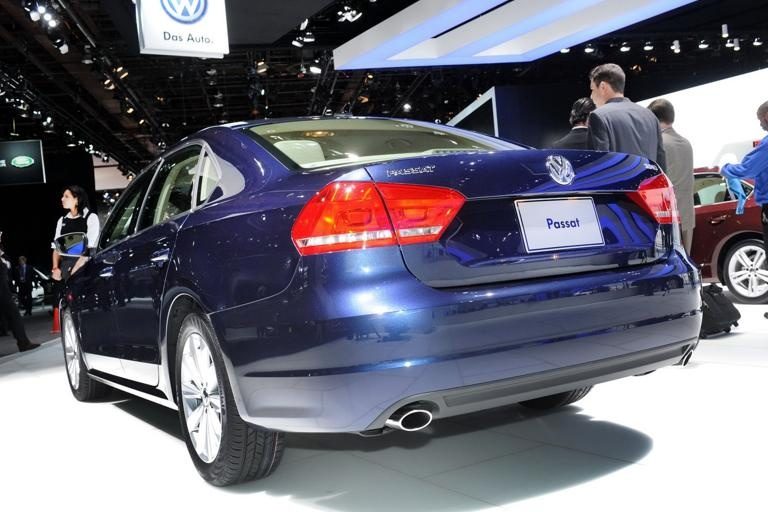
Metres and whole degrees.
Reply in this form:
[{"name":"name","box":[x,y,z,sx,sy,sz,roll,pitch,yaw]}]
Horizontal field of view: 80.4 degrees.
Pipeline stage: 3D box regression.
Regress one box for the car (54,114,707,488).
[{"name":"car","box":[-0.639,-0.198,3.865,2.413,1.409,5.081,-8,9,-33]}]
